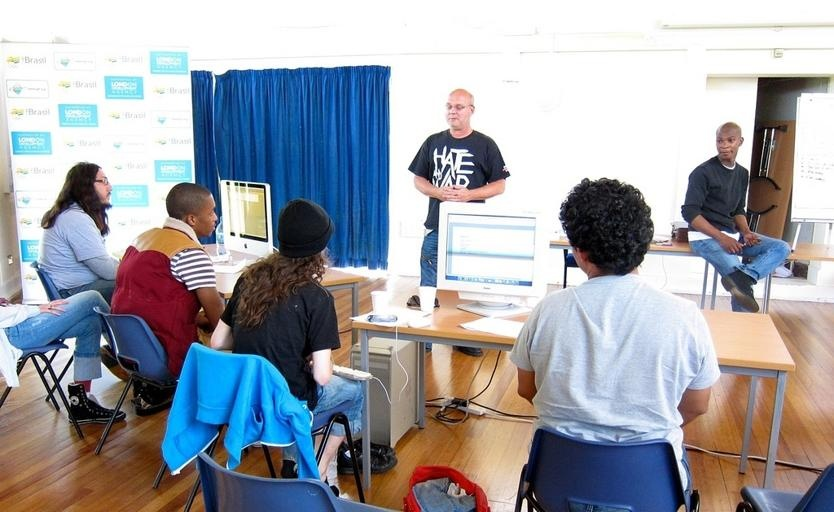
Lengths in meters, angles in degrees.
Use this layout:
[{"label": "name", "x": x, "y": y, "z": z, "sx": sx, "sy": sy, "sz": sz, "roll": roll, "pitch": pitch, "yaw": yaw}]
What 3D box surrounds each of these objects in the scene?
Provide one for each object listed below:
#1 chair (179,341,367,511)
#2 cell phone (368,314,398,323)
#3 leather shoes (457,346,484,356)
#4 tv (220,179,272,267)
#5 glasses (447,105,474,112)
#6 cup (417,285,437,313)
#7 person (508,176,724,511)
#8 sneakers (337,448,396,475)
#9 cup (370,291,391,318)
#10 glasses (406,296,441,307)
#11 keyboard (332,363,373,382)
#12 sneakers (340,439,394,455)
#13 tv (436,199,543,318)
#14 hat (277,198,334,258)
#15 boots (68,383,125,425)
[{"label": "chair", "x": -0.986, "y": 0.887, "z": 3.413, "sx": 0.940, "sy": 0.703, "sz": 0.875, "roll": 5, "pitch": 3, "yaw": -21}, {"label": "cell phone", "x": -0.224, "y": 0.410, "z": 3.751, "sx": 0.129, "sy": 0.029, "sz": 0.067, "roll": 4, "pitch": 13, "yaw": 1}, {"label": "leather shoes", "x": 0.512, "y": 0.920, "z": 5.600, "sx": 0.250, "sy": 0.107, "sz": 0.116, "roll": 2, "pitch": 6, "yaw": 40}, {"label": "tv", "x": -1.429, "y": -0.322, "z": 5.191, "sx": 0.265, "sy": 0.723, "sz": 0.885, "roll": -9, "pitch": 13, "yaw": -41}, {"label": "glasses", "x": 0.381, "y": -1.289, "z": 5.012, "sx": 0.227, "sy": 0.077, "sz": 0.077, "roll": 2, "pitch": 7, "yaw": -17}, {"label": "cup", "x": 0.067, "y": 0.299, "z": 4.026, "sx": 0.158, "sy": 0.170, "sz": 0.157, "roll": -1, "pitch": 9, "yaw": 0}, {"label": "person", "x": 0.973, "y": 0.439, "z": 2.851, "sx": 0.972, "sy": 1.635, "sz": 0.384, "roll": 6, "pitch": 8, "yaw": 19}, {"label": "sneakers", "x": -0.344, "y": 1.404, "z": 3.980, "sx": 0.356, "sy": 0.123, "sz": 0.231, "roll": 0, "pitch": 11, "yaw": 2}, {"label": "cup", "x": -0.236, "y": 0.308, "z": 3.877, "sx": 0.149, "sy": 0.144, "sz": 0.154, "roll": 0, "pitch": 21, "yaw": 0}, {"label": "glasses", "x": 0.019, "y": 0.330, "z": 4.120, "sx": 0.120, "sy": 0.092, "sz": 0.126, "roll": -3, "pitch": 5, "yaw": -43}, {"label": "keyboard", "x": -0.416, "y": 0.745, "z": 3.669, "sx": 0.202, "sy": 0.026, "sz": 0.110, "roll": 11, "pitch": 6, "yaw": 17}, {"label": "sneakers", "x": -0.350, "y": 1.339, "z": 4.064, "sx": 0.373, "sy": 0.139, "sz": 0.121, "roll": -1, "pitch": 9, "yaw": 6}, {"label": "tv", "x": 0.568, "y": 0.004, "z": 4.153, "sx": 0.774, "sy": 0.729, "sz": 0.439, "roll": 4, "pitch": 10, "yaw": 21}, {"label": "hat", "x": -0.683, "y": -0.182, "z": 3.429, "sx": 0.375, "sy": 0.267, "sz": 0.478, "roll": -5, "pitch": 23, "yaw": -6}, {"label": "boots", "x": -2.533, "y": 1.166, "z": 4.476, "sx": 0.189, "sy": 0.309, "sz": 0.452, "roll": -22, "pitch": -21, "yaw": 19}]
